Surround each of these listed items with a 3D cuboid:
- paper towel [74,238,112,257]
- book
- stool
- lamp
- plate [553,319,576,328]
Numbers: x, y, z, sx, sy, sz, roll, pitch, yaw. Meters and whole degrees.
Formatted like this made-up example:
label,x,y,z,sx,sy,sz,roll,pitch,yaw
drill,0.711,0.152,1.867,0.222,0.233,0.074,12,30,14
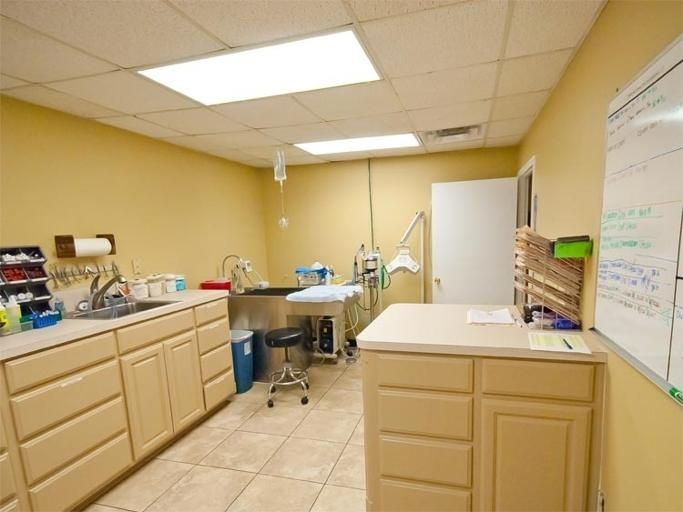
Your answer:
label,x,y,z,sx,sy,sz,roll,pitch,yaw
paper towel,-1.857,-0.070,3.499,0.112,0.140,0.314,-1,3,26
book,1.193,0.112,2.773,0.279,0.578,0.379,-5,4,-25
stool,-0.489,0.966,4.235,0.531,0.636,0.507,-7,8,-39
lamp,0.682,0.029,4.909,0.393,0.994,0.642,-2,4,14
plate,1.299,0.394,2.733,0.137,0.061,0.031,-3,4,4
